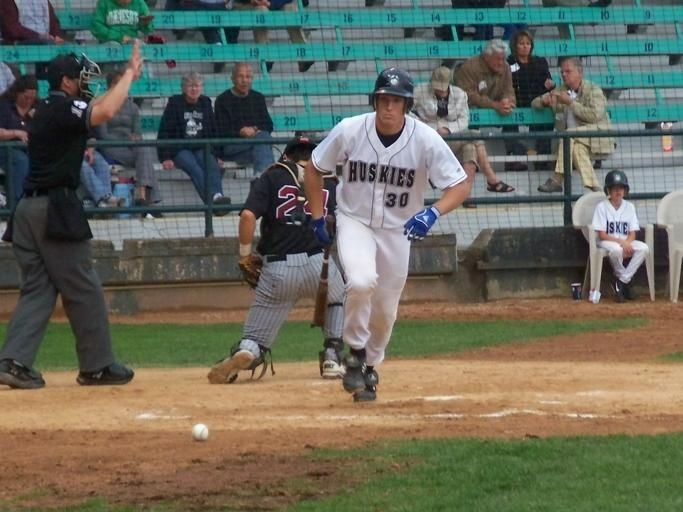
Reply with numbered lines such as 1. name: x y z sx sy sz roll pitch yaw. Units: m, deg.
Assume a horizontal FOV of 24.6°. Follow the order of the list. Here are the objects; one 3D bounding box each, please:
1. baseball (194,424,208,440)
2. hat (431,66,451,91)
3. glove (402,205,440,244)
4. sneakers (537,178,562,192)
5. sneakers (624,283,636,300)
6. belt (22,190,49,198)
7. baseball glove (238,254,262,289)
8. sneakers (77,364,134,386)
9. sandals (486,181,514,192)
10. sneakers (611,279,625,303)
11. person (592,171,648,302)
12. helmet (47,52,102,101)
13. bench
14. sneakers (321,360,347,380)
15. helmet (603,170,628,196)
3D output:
1. baseball: -1.429 1.783 15.778 0.144 0.145 0.146 3 -1 30
2. hat: 1.464 -2.567 22.710 0.248 0.350 0.185 2 -34 9
3. glove: 0.853 -0.309 16.438 0.252 0.430 0.105 42 8 10
4. sneakers: 3.050 -0.990 22.807 0.311 0.143 0.171 0 2 -19
5. sneakers: 4.068 0.518 21.912 0.150 0.223 0.186 6 13 32
6. belt: -3.331 -0.639 17.130 0.155 0.061 0.121 -15 -13 24
7. baseball glove: -1.015 0.194 17.981 0.228 0.398 0.151 -9 2 -3
8. sneakers: -2.599 1.306 17.340 0.584 0.271 0.242 -4 6 -13
9. sandals: 2.304 -0.984 22.840 0.324 0.130 0.167 1 5 21
10. sneakers: 3.886 0.500 21.862 0.175 0.299 0.189 2 12 16
11. person: 3.905 -0.259 21.919 0.515 1.750 0.672 -9 13 -34
12. helmet: -2.970 -1.981 17.445 0.573 0.521 0.452 -4 13 -20
13. bench: 1.782 -2.924 26.046 14.213 2.059 2.890 0 -13 -4
14. sneakers: -0.089 1.305 17.912 0.168 0.155 0.335 1 1 16
15. helmet: 3.892 -1.031 22.054 0.283 0.298 0.342 1 3 -1
